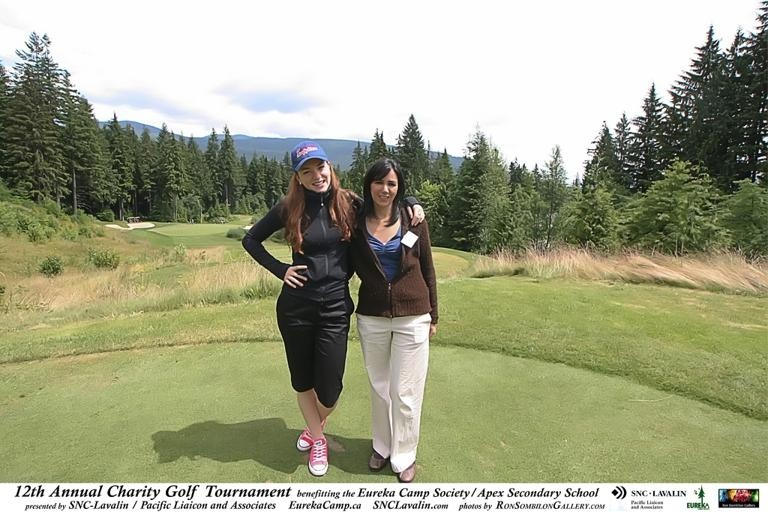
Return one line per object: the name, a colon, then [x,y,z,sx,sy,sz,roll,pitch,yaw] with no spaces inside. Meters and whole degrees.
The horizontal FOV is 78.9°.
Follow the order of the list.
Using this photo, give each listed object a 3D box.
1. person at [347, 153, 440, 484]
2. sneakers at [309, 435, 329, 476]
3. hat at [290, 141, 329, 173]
person: [0.114,0.851,6.444,1.159,4.275,1.031,4,11,10]
sneakers: [-0.900,2.753,6.402,0.201,0.218,0.549,2,24,-7]
hat: [-1.053,-1.361,6.481,0.503,0.436,0.427,5,11,14]
